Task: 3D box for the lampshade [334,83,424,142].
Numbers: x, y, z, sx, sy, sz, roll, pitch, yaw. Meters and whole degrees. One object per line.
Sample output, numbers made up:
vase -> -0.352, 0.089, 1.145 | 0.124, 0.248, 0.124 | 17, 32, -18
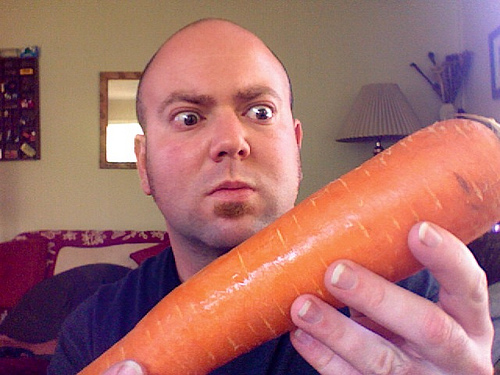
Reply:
lampshade -> 1.005, -0.561, 3.791 | 0.645, 0.428, 0.641 | 0, -2, -28
